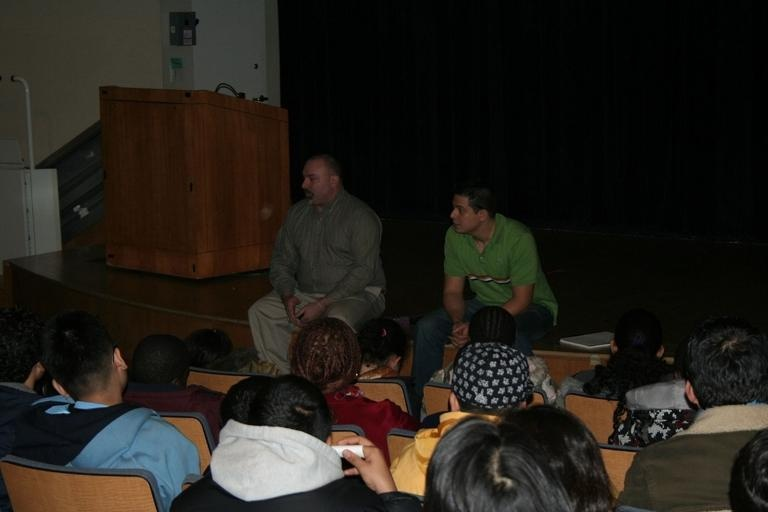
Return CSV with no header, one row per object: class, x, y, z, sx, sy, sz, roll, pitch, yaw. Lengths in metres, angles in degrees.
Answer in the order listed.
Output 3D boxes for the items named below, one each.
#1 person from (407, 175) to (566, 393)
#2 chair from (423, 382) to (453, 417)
person,0.668,0.309,3.784,0.776,1.443,1.057,6,8,43
chair,0.219,0.594,2.593,0.126,0.183,0.128,4,23,9
